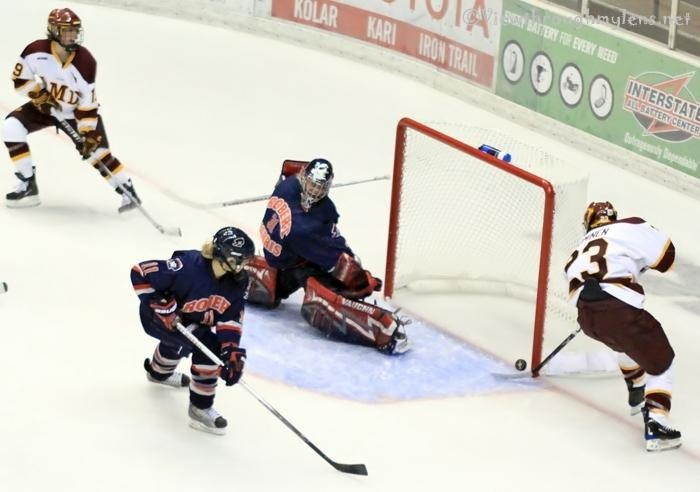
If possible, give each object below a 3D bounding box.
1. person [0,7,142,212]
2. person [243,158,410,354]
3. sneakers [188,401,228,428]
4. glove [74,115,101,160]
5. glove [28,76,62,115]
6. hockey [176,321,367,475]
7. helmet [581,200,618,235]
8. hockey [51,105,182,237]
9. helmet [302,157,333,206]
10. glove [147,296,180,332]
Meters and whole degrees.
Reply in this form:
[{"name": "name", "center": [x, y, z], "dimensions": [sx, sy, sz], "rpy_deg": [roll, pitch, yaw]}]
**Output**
[{"name": "person", "center": [-2.191, -1.051, 6.814], "dimensions": [0.948, 1.513, 0.442], "rpy_deg": [0, 21, -15]}, {"name": "person", "center": [-0.296, 0.020, 6.099], "dimensions": [0.591, 1.136, 1.726], "rpy_deg": [-9, 20, -36]}, {"name": "sneakers", "center": [-0.785, 0.958, 4.932], "dimensions": [0.261, 0.110, 0.096], "rpy_deg": [15, 20, 13]}, {"name": "glove", "center": [-2.039, -0.826, 6.917], "dimensions": [0.171, 0.236, 0.096], "rpy_deg": [-26, -14, 14]}, {"name": "glove", "center": [-2.350, -1.146, 6.781], "dimensions": [0.179, 0.279, 0.126], "rpy_deg": [-44, 15, -17]}, {"name": "hockey", "center": [-0.475, 0.914, 5.086], "dimensions": [1.255, 0.143, 0.061], "rpy_deg": [38, 77, 21]}, {"name": "helmet", "center": [1.554, -0.182, 5.508], "dimensions": [0.163, 0.193, 0.201], "rpy_deg": [4, 41, 6]}, {"name": "hockey", "center": [-1.961, -0.580, 7.325], "dimensions": [0.171, 0.200, 1.503], "rpy_deg": [-35, 71, -20]}, {"name": "helmet", "center": [-0.223, -0.426, 5.822], "dimensions": [0.195, 0.291, 0.116], "rpy_deg": [24, 9, -4]}, {"name": "glove", "center": [-1.007, 0.373, 4.777], "dimensions": [0.161, 0.182, 0.075], "rpy_deg": [1, 21, -11]}]
